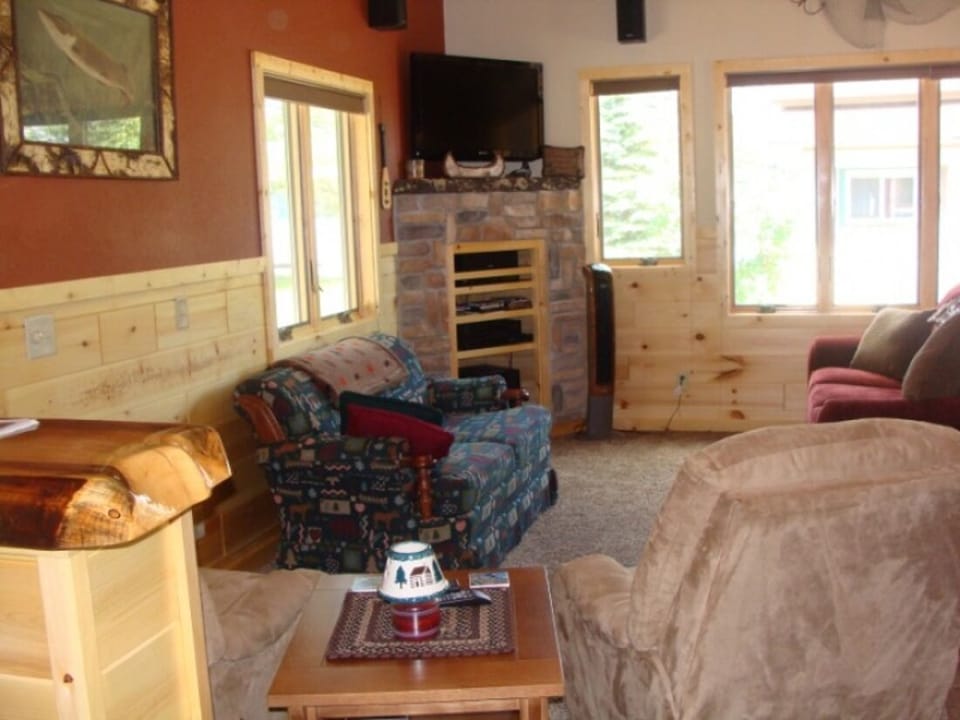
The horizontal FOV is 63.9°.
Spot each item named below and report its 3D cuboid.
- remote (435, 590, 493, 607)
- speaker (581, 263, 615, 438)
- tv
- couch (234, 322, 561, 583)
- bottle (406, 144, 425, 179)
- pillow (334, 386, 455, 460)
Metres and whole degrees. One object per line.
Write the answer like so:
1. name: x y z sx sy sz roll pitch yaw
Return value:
1. remote: -0.046 0.689 2.220 0.110 0.017 0.054 -2 8 -4
2. speaker: 0.914 -0.051 5.799 0.255 1.322 0.147 -6 11 -8
3. tv: -0.057 -1.842 5.609 0.985 0.609 0.098 -6 11 -32
4. couch: -0.392 0.174 3.737 1.161 0.876 1.597 1 6 11
5. bottle: -0.464 -1.394 5.461 0.125 0.230 0.292 -5 10 -4
6. pillow: -0.376 0.288 3.389 0.451 0.273 0.375 -6 11 -11
